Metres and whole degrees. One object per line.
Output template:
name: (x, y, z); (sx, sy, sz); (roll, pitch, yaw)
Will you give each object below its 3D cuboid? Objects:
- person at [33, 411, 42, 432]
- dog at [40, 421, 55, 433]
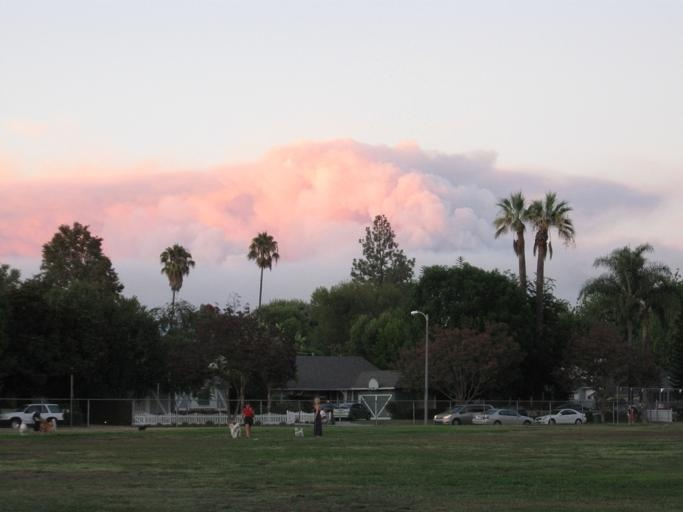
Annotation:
person: (-22.542, 12.378, 112.142); (0.352, 1.406, 0.702); (4, -3, -34)
dog: (-21.277, 12.477, 109.697); (0.672, 0.710, 1.225); (3, -5, -10)
